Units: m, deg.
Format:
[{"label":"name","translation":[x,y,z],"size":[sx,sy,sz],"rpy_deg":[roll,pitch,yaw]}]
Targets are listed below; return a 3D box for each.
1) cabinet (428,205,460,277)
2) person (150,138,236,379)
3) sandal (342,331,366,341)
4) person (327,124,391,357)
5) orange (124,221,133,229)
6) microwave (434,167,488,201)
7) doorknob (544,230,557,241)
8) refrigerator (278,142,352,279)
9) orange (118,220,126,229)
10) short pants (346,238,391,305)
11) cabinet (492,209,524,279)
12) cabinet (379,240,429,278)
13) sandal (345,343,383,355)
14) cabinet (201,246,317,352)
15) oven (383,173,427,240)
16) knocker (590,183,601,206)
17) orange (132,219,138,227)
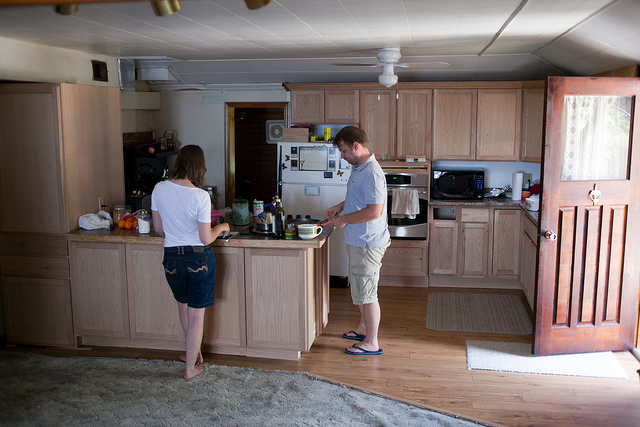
[{"label":"cabinet","translation":[1.767,0.366,6.371],"size":[0.524,0.938,0.575],"rpy_deg":[3,-8,9]},{"label":"person","translation":[-1.126,0.418,4.090],"size":[0.641,2.046,0.568],"rpy_deg":[-5,16,-19]},{"label":"sandal","translation":[0.353,1.288,4.796],"size":[0.209,0.055,0.079],"rpy_deg":[3,3,-1]},{"label":"person","translation":[0.416,0.183,4.834],"size":[0.585,2.202,1.391],"rpy_deg":[2,15,7]},{"label":"orange","translation":[-1.930,0.113,4.569],"size":[0.070,0.064,0.066],"rpy_deg":[21,-25,-11]},{"label":"microwave","translation":[1.873,-0.371,6.459],"size":[0.783,0.407,0.468],"rpy_deg":[0,-5,-8]},{"label":"doorknob","translation":[2.192,0.207,4.316],"size":[0.122,0.101,0.040],"rpy_deg":[-3,15,-11]},{"label":"refrigerator","translation":[0.028,-0.111,6.351],"size":[0.981,1.575,0.887],"rpy_deg":[7,14,19]},{"label":"orange","translation":[-2.003,0.105,4.596],"size":[0.094,0.078,0.043],"rpy_deg":[4,15,12]},{"label":"short pants","translation":[0.396,0.538,4.755],"size":[0.569,0.868,0.665],"rpy_deg":[0,1,1]},{"label":"cabinet","translation":[2.698,0.409,6.137],"size":[0.436,0.930,0.507],"rpy_deg":[7,-6,-24]},{"label":"cabinet","translation":[1.382,0.640,6.316],"size":[0.459,0.525,0.799],"rpy_deg":[9,-7,-27]},{"label":"sandal","translation":[0.446,1.331,4.532],"size":[0.307,0.064,0.124],"rpy_deg":[2,-1,-3]},{"label":"cabinet","translation":[-0.277,0.855,4.871],"size":[0.776,1.080,1.259],"rpy_deg":[-1,-7,17]},{"label":"oven","translation":[1.231,-0.131,6.367],"size":[0.766,0.929,0.702],"rpy_deg":[3,8,31]},{"label":"knocker","translation":[2.645,-0.181,4.363],"size":[0.115,0.199,0.028],"rpy_deg":[-5,16,-20]},{"label":"orange","translation":[-1.857,0.101,4.548],"size":[0.044,0.087,0.160],"rpy_deg":[-7,16,-26]}]
